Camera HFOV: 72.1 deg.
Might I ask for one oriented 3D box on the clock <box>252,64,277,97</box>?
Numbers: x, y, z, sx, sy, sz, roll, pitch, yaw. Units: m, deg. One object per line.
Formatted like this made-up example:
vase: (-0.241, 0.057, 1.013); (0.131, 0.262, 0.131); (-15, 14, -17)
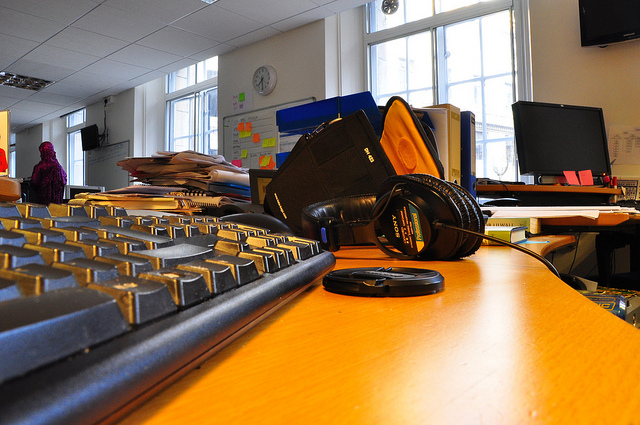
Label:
clock: (-0.507, -1.192, 3.972); (0.068, 0.277, 0.268); (1, -9, -44)

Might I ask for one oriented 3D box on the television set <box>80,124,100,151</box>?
television set: (-3.306, -1.112, 6.350); (0.182, 0.445, 0.530); (0, 15, -21)

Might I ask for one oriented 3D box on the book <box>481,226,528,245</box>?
book: (0.375, 0.041, 0.882); (0.077, 0.018, 0.079); (0, 1, 31)

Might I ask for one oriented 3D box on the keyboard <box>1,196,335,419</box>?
keyboard: (-0.147, 0.041, 0.458); (0.361, 0.093, 0.342); (-11, 16, -43)

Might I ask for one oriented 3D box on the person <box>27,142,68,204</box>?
person: (-2.825, -0.399, 4.507); (0.366, 0.618, 0.701); (-7, 14, -32)

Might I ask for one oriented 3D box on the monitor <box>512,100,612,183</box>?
monitor: (1.195, -0.342, 2.186); (0.559, 0.389, 0.080); (-1, -7, -20)
